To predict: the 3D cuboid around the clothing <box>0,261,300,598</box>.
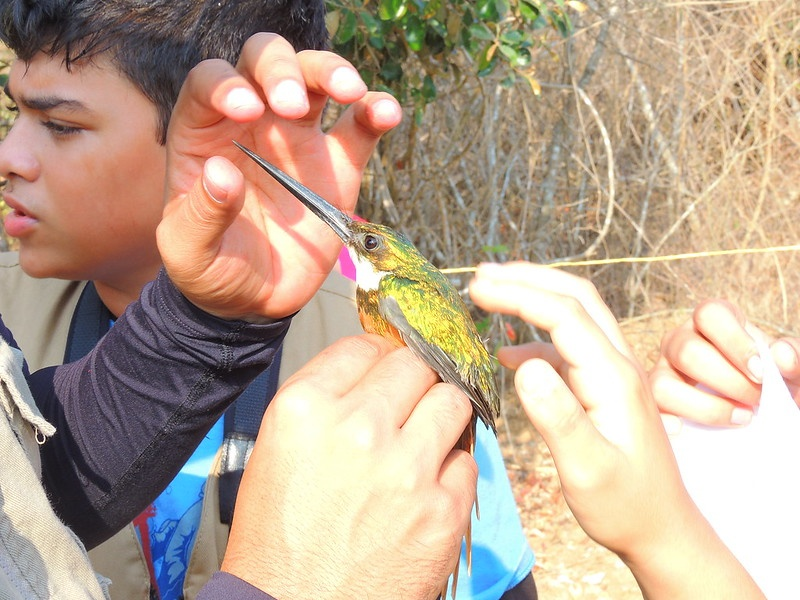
[{"bbox_3d":[-0.954,0.387,2.956,0.774,1.231,0.447,11,13,-3],"label":"clothing"}]
